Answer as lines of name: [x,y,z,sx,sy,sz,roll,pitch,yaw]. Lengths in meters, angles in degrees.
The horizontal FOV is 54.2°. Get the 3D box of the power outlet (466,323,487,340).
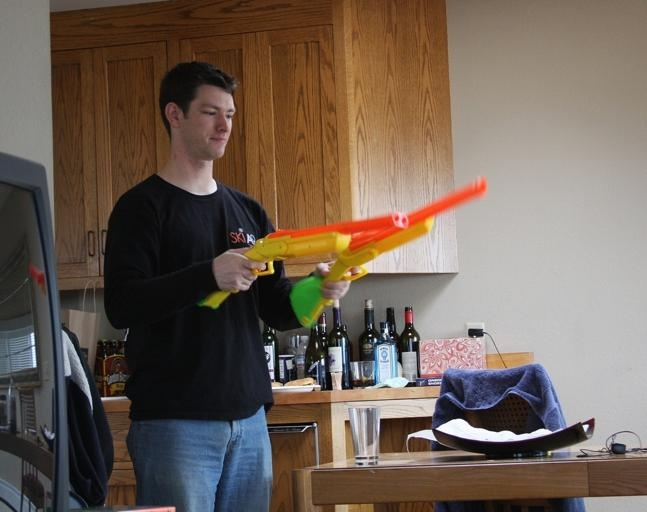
power outlet: [0.734,0.364,3.065,0.069,0.074,0.072,0,4,9]

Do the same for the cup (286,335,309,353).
cup: [-0.128,0.426,3.032,0.101,0.118,0.065,0,-4,1]

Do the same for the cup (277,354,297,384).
cup: [-0.177,0.530,2.975,0.101,0.162,0.105,-1,-9,0]

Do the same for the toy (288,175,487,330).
toy: [0.082,0.016,1.276,0.195,0.268,0.562,-1,-2,-33]

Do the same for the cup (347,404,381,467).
cup: [0.078,0.399,1.373,0.091,0.152,0.094,-1,-14,0]
